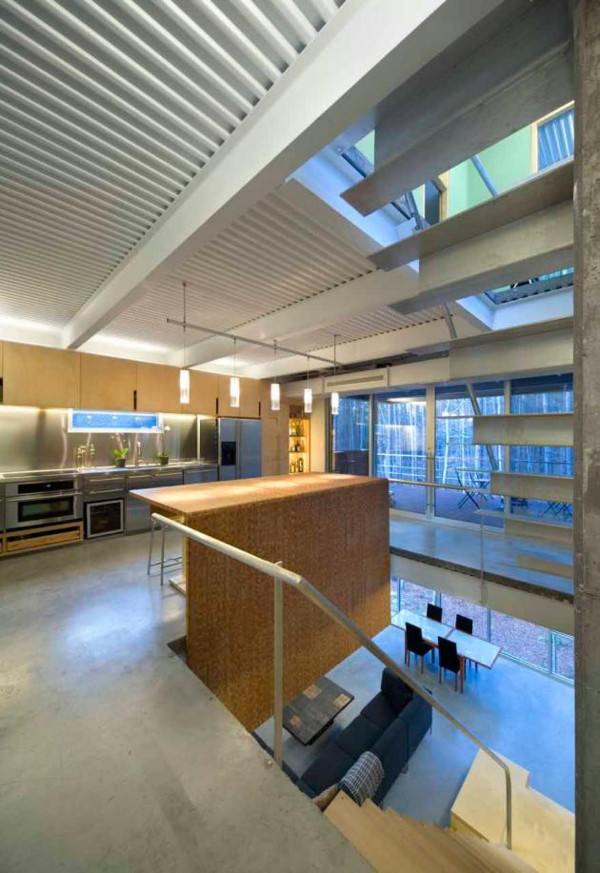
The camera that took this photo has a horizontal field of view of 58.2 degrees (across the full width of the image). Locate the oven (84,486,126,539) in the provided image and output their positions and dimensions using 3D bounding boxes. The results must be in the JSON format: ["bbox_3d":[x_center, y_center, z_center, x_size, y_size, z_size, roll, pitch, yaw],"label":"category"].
[{"bbox_3d":[-2.033,0.825,5.728,0.510,0.552,0.334,-1,2,-44],"label":"oven"}]

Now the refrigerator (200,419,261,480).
[{"bbox_3d":[-0.896,0.182,7.832,0.684,0.901,0.288,-5,16,-26],"label":"refrigerator"}]

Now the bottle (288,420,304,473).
[{"bbox_3d":[-0.068,0.162,9.604,0.165,0.951,0.416,2,4,37],"label":"bottle"}]

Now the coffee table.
[{"bbox_3d":[0.186,2.891,5.578,0.700,0.277,0.497,-20,21,-35],"label":"coffee table"}]

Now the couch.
[{"bbox_3d":[0.598,2.808,4.920,0.488,0.611,1.475,21,21,31],"label":"couch"}]

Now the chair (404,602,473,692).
[{"bbox_3d":[1.659,2.529,6.483,0.733,0.403,0.567,11,19,41],"label":"chair"}]

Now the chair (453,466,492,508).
[{"bbox_3d":[2.223,0.691,7.071,0.415,0.586,0.683,1,4,18],"label":"chair"}]
